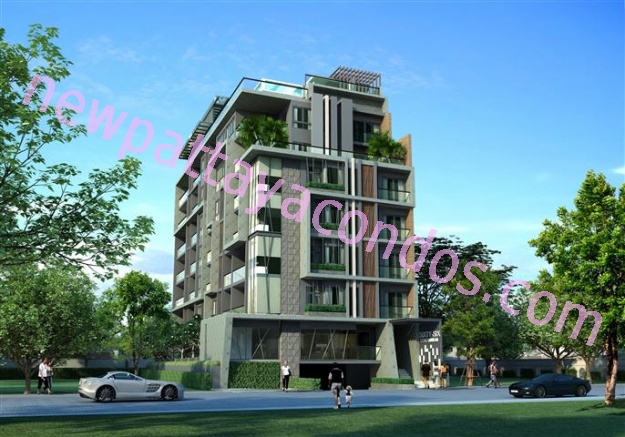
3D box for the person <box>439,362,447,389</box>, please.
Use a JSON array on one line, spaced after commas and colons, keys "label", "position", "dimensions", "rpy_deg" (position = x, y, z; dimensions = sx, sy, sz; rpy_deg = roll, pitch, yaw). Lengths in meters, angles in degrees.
[{"label": "person", "position": [10.947, 13.188, 63.756], "dimensions": [0.466, 1.932, 1.411], "rpy_deg": [-3, -14, 19]}]
